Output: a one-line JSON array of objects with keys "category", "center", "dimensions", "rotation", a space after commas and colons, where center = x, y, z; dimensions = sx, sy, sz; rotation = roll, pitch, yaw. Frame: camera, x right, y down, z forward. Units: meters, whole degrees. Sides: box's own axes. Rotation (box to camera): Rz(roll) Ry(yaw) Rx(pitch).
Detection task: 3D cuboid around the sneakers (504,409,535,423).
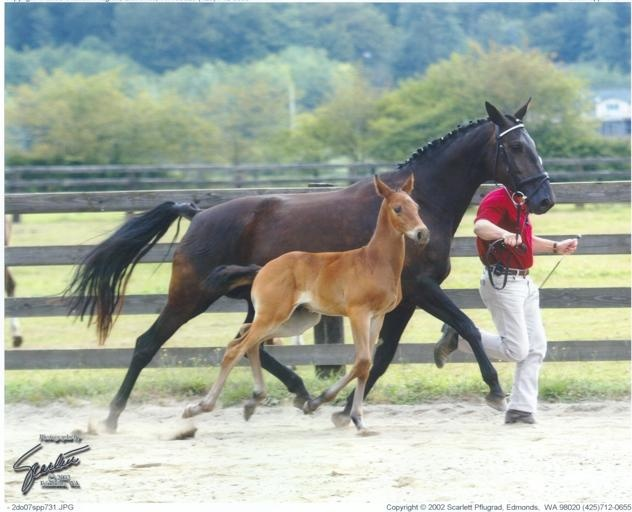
[{"category": "sneakers", "center": [3.803, 3.011, 26.121], "dimensions": [0.653, 0.230, 0.200], "rotation": [0, 1, 1]}]
